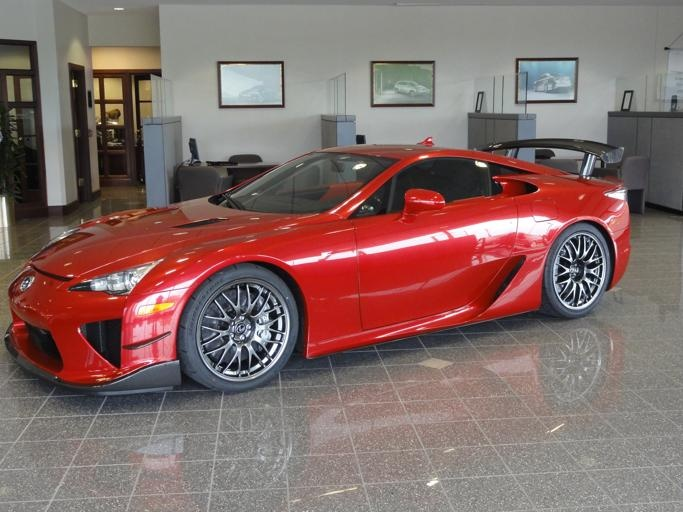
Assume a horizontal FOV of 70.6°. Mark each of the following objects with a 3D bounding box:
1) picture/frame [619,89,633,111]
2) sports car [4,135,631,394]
[{"bbox_3d":[6.804,-3.712,11.455,0.207,0.491,0.423,3,15,13],"label":"picture/frame"},{"bbox_3d":[0.201,0.064,3.523,4.205,0.988,1.943,-4,11,-18],"label":"sports car"}]
